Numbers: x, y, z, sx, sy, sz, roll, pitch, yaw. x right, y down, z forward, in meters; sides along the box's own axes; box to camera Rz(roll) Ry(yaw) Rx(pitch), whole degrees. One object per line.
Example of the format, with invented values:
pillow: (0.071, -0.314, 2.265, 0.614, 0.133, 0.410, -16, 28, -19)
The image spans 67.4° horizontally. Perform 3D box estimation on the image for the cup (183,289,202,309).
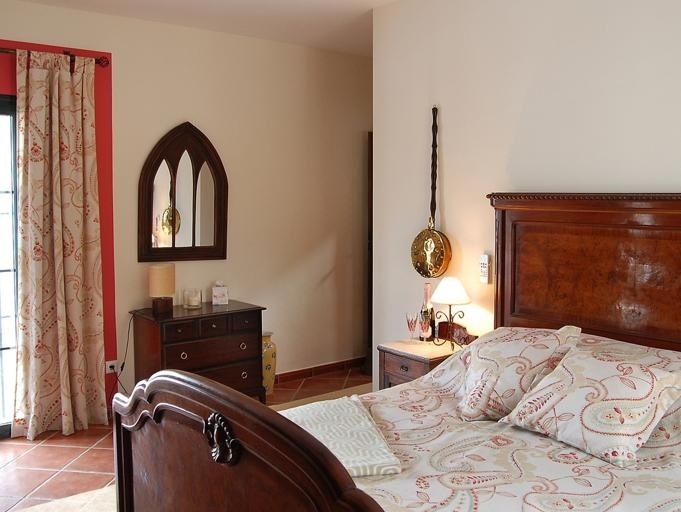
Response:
cup: (-1.254, 0.361, 4.304, 0.151, 0.130, 0.149, 1, 1, 0)

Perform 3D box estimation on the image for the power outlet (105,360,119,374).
power outlet: (-1.876, 0.900, 4.165, 0.104, 0.101, 0.053, -3, 9, -35)

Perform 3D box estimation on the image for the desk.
desk: (-1.187, 0.893, 4.306, 0.947, 0.855, 0.536, -2, 0, -44)
